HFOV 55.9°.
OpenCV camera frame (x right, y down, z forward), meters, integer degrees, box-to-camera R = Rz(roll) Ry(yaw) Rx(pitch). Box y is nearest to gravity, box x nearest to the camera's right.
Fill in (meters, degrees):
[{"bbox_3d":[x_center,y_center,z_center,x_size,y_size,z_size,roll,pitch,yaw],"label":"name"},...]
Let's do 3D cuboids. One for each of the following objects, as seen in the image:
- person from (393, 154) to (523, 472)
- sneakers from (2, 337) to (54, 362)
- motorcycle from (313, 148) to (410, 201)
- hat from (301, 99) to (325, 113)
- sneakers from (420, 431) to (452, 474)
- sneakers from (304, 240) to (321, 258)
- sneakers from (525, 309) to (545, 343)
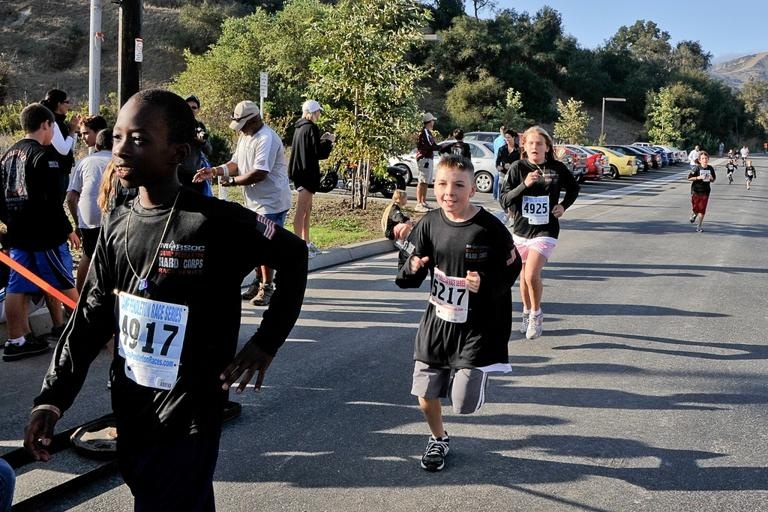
[{"bbox_3d":[0.565,0.436,5.701,0.956,2.394,0.780,4,14,11],"label":"person"},{"bbox_3d":[-3.620,0.906,7.396,0.523,0.221,0.191,-10,12,-33],"label":"sneakers"},{"bbox_3d":[-0.527,-2.273,20.452,2.602,1.586,1.224,-2,-20,26],"label":"motorcycle"},{"bbox_3d":[-1.103,-2.382,11.637,0.264,0.198,0.359,10,29,29],"label":"hat"},{"bbox_3d":[0.429,1.564,5.818,0.176,0.181,0.500,-1,7,16],"label":"sneakers"},{"bbox_3d":[-0.978,-0.094,10.159,0.201,0.235,0.549,-10,-5,1],"label":"sneakers"},{"bbox_3d":[1.780,0.824,8.540,0.134,0.417,0.168,0,-29,25],"label":"sneakers"}]
